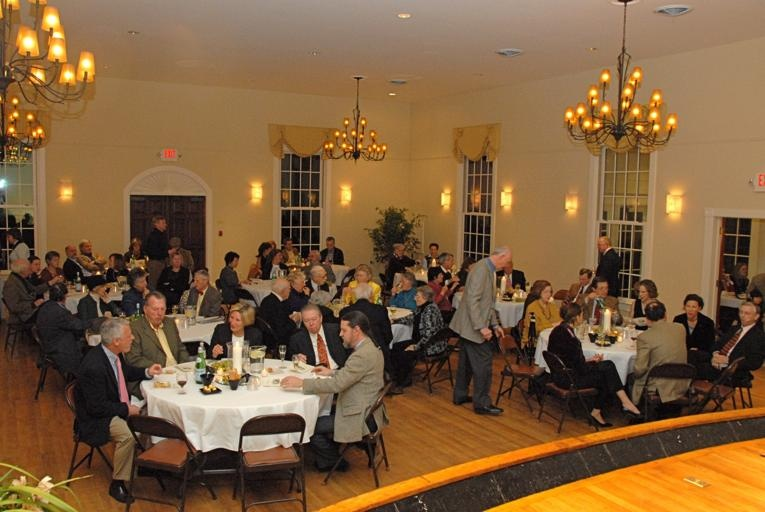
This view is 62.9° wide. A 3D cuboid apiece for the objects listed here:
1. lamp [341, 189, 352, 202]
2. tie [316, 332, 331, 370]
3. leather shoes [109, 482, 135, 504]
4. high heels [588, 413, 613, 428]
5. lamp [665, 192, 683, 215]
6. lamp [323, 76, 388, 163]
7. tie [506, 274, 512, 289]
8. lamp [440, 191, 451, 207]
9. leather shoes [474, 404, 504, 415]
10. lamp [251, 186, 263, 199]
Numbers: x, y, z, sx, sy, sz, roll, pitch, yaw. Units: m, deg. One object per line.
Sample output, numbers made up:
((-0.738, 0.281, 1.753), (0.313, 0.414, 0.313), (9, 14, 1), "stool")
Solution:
((-0.986, -1.602, 16.607), (0.316, 0.316, 0.156), (-5, 6, -40), "lamp")
((-0.718, 1.145, 7.520), (0.134, 0.391, 0.164), (-2, 3, -31), "tie")
((-2.797, 2.500, 6.648), (0.282, 0.212, 0.126), (1, 3, 31), "leather shoes")
((2.808, 2.151, 8.154), (0.389, 0.169, 0.133), (0, 1, 9), "high heels")
((5.301, -0.924, 11.381), (0.087, 0.333, 0.340), (-2, 10, -38), "lamp")
((-0.674, -3.229, 15.188), (1.946, 2.476, 1.846), (1, 0, 0), "lamp")
((2.387, 0.482, 11.671), (0.159, 0.220, 0.052), (-3, -10, -39), "tie")
((1.628, -1.462, 16.139), (0.085, 0.339, 0.344), (-1, 0, -40), "lamp")
((1.442, 2.120, 8.531), (0.389, 0.166, 0.145), (-3, 0, 7), "leather shoes")
((-3.126, -1.545, 15.475), (0.293, 0.423, 0.291), (0, -2, -10), "lamp")
